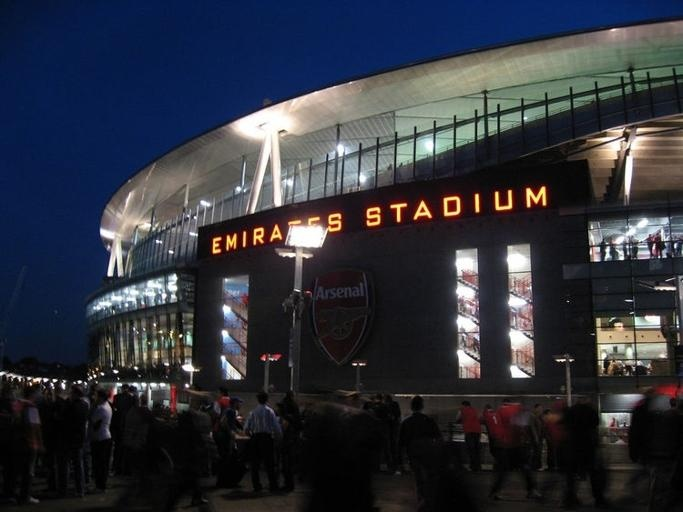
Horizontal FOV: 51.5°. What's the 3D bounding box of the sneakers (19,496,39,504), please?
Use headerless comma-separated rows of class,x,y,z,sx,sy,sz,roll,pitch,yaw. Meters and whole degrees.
sneakers,-7.233,5.709,16.489,0.414,0.160,0.141,3,-1,-25

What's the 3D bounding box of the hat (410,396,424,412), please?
hat,1.669,3.286,15.711,0.345,0.415,0.425,1,-14,-2
